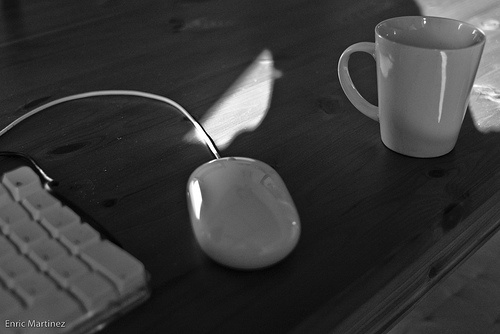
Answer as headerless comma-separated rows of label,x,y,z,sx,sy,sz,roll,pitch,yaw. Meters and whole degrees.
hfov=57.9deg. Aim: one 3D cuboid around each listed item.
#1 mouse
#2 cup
mouse,-0.010,0.040,0.480,0.115,0.035,0.153,-7,45,-14
cup,0.209,-0.110,0.569,0.139,0.140,0.151,-8,45,9
